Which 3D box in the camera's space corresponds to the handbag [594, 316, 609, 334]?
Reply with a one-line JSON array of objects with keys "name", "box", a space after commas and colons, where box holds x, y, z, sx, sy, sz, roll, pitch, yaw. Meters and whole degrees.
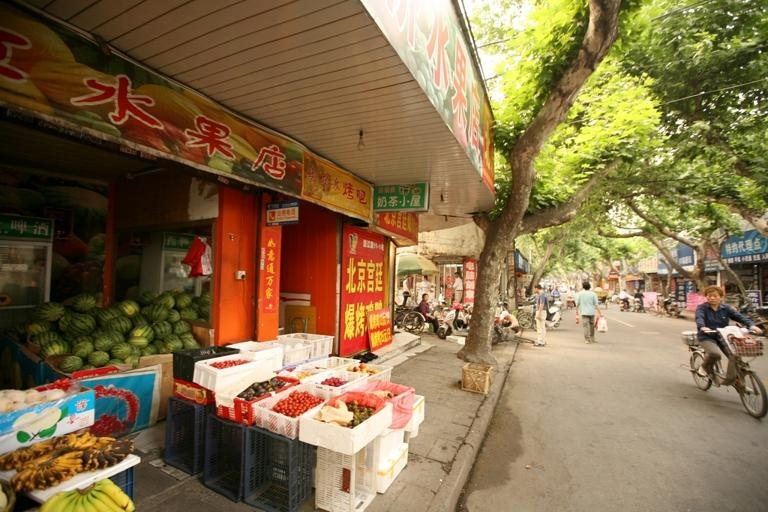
[{"name": "handbag", "box": [7.238, 2.235, 14.442, 0.309, 0.548, 0.447, 3, 10, 14]}]
